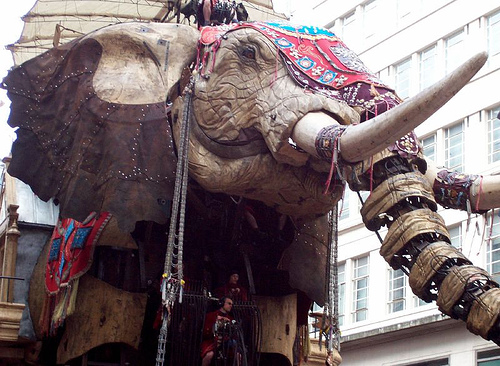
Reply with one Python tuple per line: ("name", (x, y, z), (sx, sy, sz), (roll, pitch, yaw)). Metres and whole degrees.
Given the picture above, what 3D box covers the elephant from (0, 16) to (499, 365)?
("elephant", (-0.035, -0.506, 14.808), (8.589, 5.234, 6.842), (-14, -19, 34))
